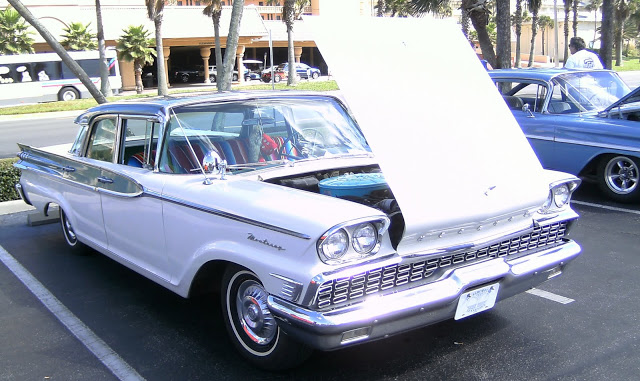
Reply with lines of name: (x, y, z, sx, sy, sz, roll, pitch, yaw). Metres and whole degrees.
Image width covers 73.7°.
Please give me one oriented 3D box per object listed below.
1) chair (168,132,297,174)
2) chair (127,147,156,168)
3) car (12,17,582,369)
chair: (-1.012, -0.444, 4.829, 1.379, 0.509, 0.399, 2, -17, -24)
chair: (-2.044, -0.426, 5.011, 0.243, 0.110, 0.347, 27, 38, 30)
car: (-0.894, -0.216, 5.316, 3.285, 2.425, 5.744, -13, 20, -41)
